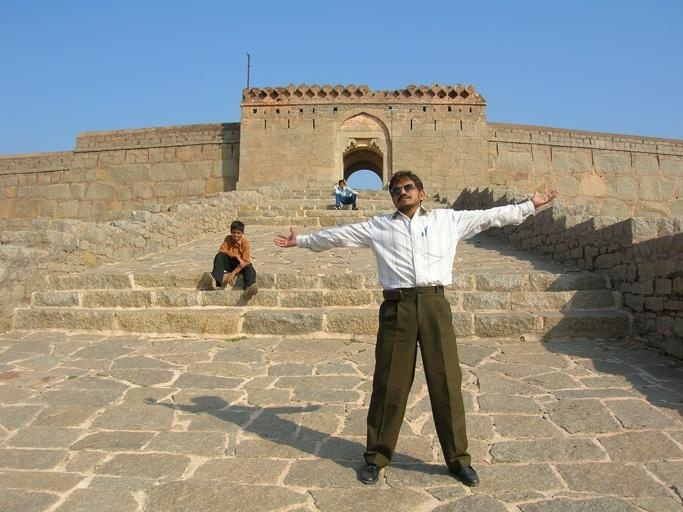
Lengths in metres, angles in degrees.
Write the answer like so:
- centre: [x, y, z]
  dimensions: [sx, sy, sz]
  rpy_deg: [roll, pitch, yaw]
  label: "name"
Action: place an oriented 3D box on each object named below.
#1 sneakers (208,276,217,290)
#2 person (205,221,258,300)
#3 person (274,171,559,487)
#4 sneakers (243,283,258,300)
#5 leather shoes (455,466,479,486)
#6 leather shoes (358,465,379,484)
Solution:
- centre: [-1.736, 0.345, 8.017]
  dimensions: [0.091, 0.185, 0.335]
  rpy_deg: [0, 2, -19]
  label: "sneakers"
- centre: [-1.395, 0.040, 7.990]
  dimensions: [0.771, 1.012, 0.476]
  rpy_deg: [2, 3, 25]
  label: "person"
- centre: [0.516, 0.500, 4.614]
  dimensions: [1.575, 2.302, 0.659]
  rpy_deg: [2, 3, 13]
  label: "person"
- centre: [-1.197, 0.461, 7.776]
  dimensions: [0.115, 0.116, 0.299]
  rpy_deg: [14, -39, -32]
  label: "sneakers"
- centre: [0.913, 1.599, 4.381]
  dimensions: [0.098, 0.067, 0.186]
  rpy_deg: [-5, -7, -14]
  label: "leather shoes"
- centre: [0.204, 1.595, 4.473]
  dimensions: [0.171, 0.125, 0.167]
  rpy_deg: [1, 2, 8]
  label: "leather shoes"
